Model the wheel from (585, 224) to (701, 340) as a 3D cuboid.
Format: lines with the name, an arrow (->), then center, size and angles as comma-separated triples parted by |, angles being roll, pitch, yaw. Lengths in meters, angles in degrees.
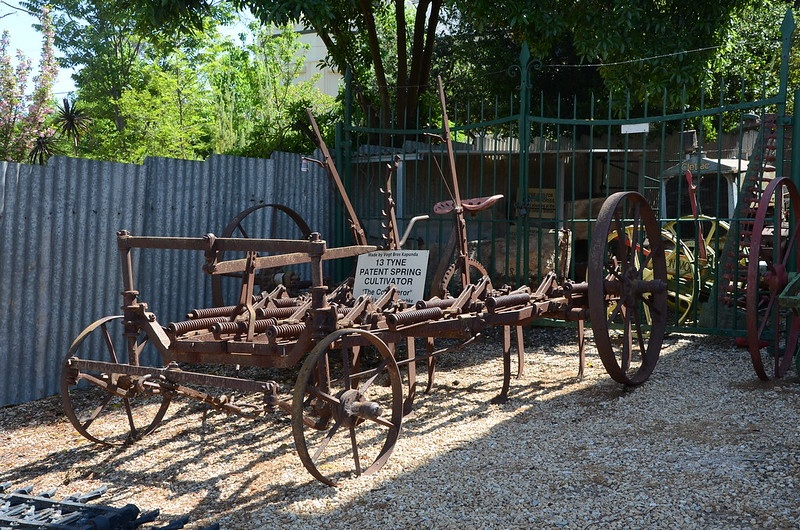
wheel -> 4.257, 0.191, 12.800 | 1.533, 1.726, 0.397 | 6, 9, 31

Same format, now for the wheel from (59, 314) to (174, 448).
wheel -> -3.041, 1.324, 9.156 | 0.364, 1.467, 1.366 | 7, -6, 41

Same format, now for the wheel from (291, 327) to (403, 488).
wheel -> -0.540, 1.506, 8.444 | 0.567, 1.219, 1.046 | 4, 29, 43
